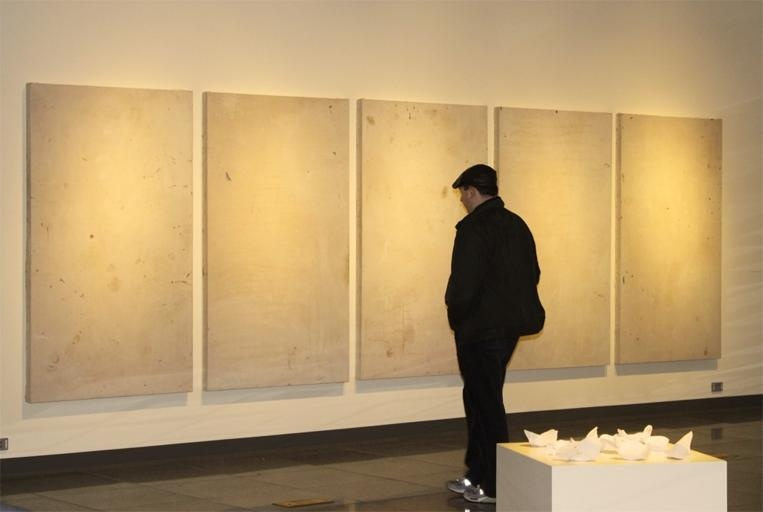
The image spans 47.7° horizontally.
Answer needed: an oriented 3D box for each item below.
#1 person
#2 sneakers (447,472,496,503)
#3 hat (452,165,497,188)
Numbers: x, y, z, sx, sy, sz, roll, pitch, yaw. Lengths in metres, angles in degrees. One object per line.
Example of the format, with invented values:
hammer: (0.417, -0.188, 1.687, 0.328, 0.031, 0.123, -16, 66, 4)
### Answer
person: (0.886, 0.620, 6.950, 0.748, 2.654, 0.629, 2, 9, 10)
sneakers: (0.728, 1.858, 6.952, 0.406, 0.177, 0.146, 3, 1, 35)
hat: (0.773, -0.647, 7.094, 0.272, 0.129, 0.199, 4, 8, 16)
